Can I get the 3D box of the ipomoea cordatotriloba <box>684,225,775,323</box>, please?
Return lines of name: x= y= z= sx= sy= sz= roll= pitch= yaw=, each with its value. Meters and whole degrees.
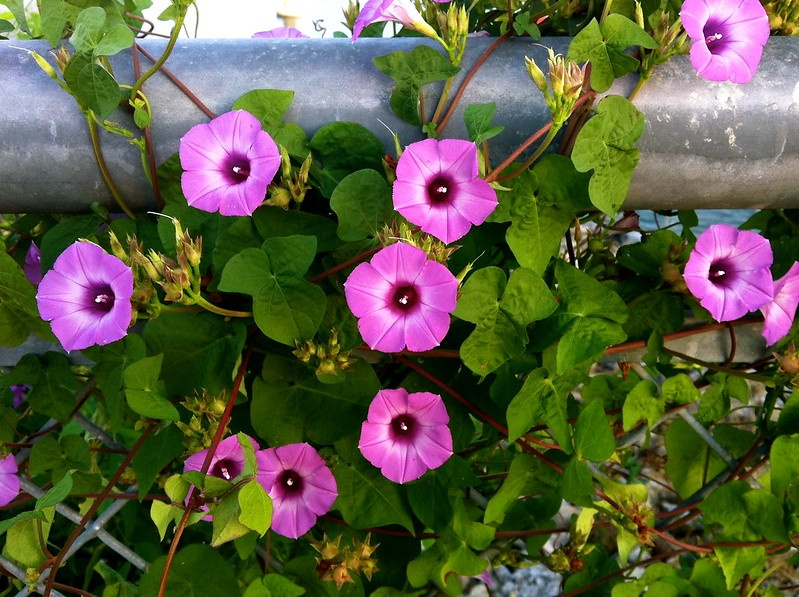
ipomoea cordatotriloba: x=0.865 y=-0.076 z=2.354 sx=0.237 sy=0.258 sz=0.132 roll=-20 pitch=-1 yaw=-2

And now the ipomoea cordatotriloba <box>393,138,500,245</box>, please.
ipomoea cordatotriloba: x=0.135 y=-0.273 z=2.166 sx=0.261 sy=0.137 sz=0.245 roll=28 pitch=-39 yaw=-19

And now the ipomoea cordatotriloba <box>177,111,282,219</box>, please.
ipomoea cordatotriloba: x=-0.419 y=-0.334 z=2.134 sx=0.237 sy=0.272 sz=0.120 roll=5 pitch=2 yaw=15

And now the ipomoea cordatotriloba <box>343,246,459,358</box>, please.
ipomoea cordatotriloba: x=0.011 y=-0.009 z=2.141 sx=0.251 sy=0.256 sz=0.129 roll=51 pitch=11 yaw=-5

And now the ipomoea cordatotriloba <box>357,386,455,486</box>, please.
ipomoea cordatotriloba: x=0.023 y=0.344 z=2.345 sx=0.243 sy=0.276 sz=0.123 roll=28 pitch=7 yaw=-15

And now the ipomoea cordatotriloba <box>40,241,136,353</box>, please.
ipomoea cordatotriloba: x=-0.747 y=0.000 z=2.157 sx=0.231 sy=0.257 sz=0.122 roll=28 pitch=8 yaw=-5
